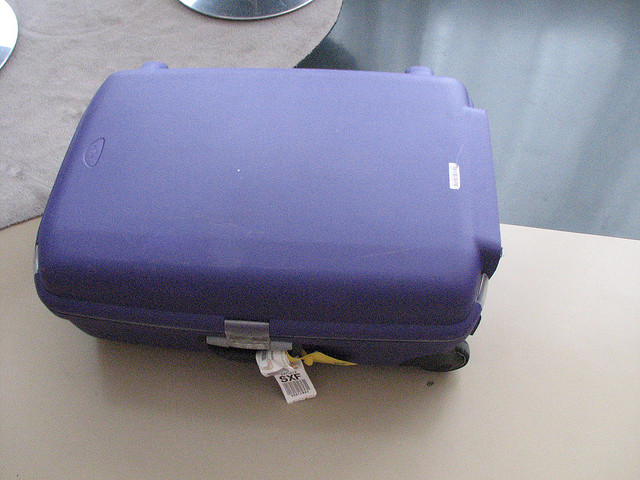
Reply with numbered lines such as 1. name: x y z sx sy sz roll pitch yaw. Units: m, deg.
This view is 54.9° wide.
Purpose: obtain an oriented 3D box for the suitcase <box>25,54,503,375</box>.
1. suitcase: -0.096 -0.019 1.365 0.814 0.398 0.612 2 71 2

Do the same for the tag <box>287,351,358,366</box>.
1. tag: 0.003 0.247 1.290 0.093 0.028 0.028 -1 39 7
